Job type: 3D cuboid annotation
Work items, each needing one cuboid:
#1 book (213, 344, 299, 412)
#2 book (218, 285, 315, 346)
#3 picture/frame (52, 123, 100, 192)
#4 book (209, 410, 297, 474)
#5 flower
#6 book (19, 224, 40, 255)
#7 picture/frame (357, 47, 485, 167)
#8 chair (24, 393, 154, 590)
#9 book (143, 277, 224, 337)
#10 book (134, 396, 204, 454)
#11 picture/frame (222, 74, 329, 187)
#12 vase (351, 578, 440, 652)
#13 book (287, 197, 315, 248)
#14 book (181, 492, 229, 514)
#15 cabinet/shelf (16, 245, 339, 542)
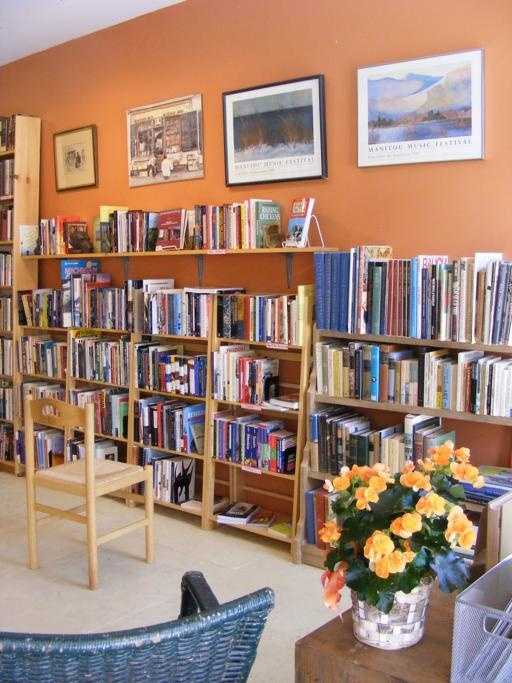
[{"bbox_3d":[-0.019,0.166,3.264,0.385,0.511,0.353,3,4,44],"label":"book"},{"bbox_3d":[0.006,-0.122,3.181,0.581,0.278,0.048,2,5,40],"label":"book"},{"bbox_3d":[-1.325,-1.382,4.358,0.555,0.505,0.060,9,11,39],"label":"picture/frame"},{"bbox_3d":[0.021,0.568,3.303,0.535,0.263,0.209,3,5,42],"label":"book"},{"bbox_3d":[0.259,0.334,1.034,0.288,0.287,0.217,0,4,7],"label":"flower"},{"bbox_3d":[-1.778,-0.797,4.579,0.038,0.303,0.227,15,17,38],"label":"book"},{"bbox_3d":[0.777,-1.083,2.679,0.667,0.458,0.031,6,9,39],"label":"picture/frame"},{"bbox_3d":[-0.818,0.701,2.974,0.543,0.888,0.487,2,4,36],"label":"chair"},{"bbox_3d":[-0.451,-0.182,3.558,0.651,0.306,0.113,3,5,41],"label":"book"},{"bbox_3d":[-0.530,0.496,3.692,0.428,0.302,0.444,9,2,25],"label":"book"},{"bbox_3d":[0.128,-1.173,3.221,0.727,0.545,0.032,7,11,41],"label":"picture/frame"},{"bbox_3d":[0.260,0.480,1.093,0.149,0.100,0.129,1,1,-20],"label":"vase"},{"bbox_3d":[0.241,-0.625,3.092,0.153,0.259,0.117,-3,4,-35],"label":"book"},{"bbox_3d":[-0.314,0.986,3.552,0.210,0.048,0.198,2,2,34],"label":"book"},{"bbox_3d":[-0.409,0.316,3.435,1.835,1.200,0.306,4,3,34],"label":"cabinet/shelf"}]
